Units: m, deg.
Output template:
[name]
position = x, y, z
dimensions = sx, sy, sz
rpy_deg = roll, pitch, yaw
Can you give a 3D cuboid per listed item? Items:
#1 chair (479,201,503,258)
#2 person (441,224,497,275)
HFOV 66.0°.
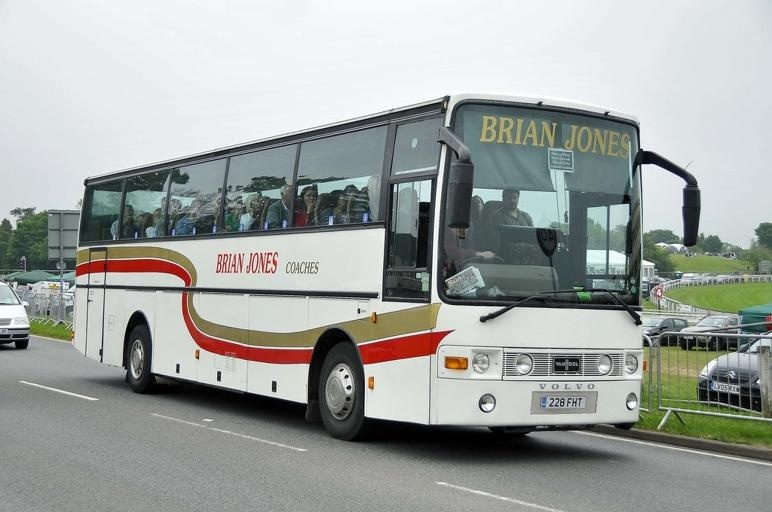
[chair]
position = 1.478, -0.425, 8.398
dimensions = 0.447, 0.679, 0.593
rpy_deg = 2, 0, -5
[person]
position = 1.148, -0.082, 8.398
dimensions = 0.733, 0.277, 0.551
rpy_deg = 5, 7, -4
